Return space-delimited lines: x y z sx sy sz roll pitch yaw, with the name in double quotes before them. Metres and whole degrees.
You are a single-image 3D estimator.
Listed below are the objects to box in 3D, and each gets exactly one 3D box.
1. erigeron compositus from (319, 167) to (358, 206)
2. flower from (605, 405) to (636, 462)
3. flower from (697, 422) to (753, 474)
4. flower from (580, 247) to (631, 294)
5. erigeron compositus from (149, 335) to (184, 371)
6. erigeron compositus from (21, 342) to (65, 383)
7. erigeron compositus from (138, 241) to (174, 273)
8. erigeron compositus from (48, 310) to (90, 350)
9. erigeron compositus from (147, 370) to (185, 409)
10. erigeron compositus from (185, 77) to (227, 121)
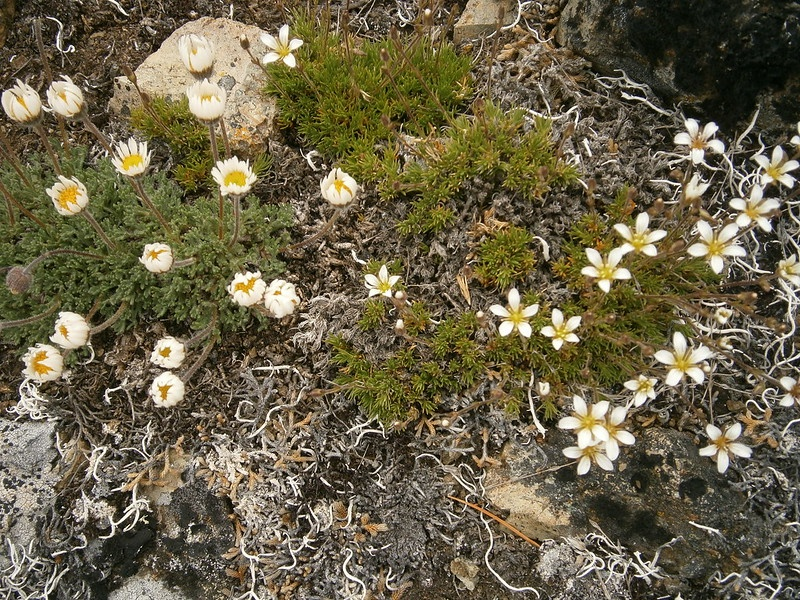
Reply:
"erigeron compositus" -0.457 -0.822 5.428 0.223 0.205 0.306 1 73 -4
"flower" 1.480 0.906 5.068 0.075 0.278 0.409 -13 97 40
"flower" 2.225 1.009 5.183 0.315 0.307 0.339 -30 83 0
"flower" 1.479 -0.179 5.385 0.398 0.696 0.319 0 83 3
"erigeron compositus" -1.733 0.387 5.646 0.229 0.260 0.222 -44 79 0
"erigeron compositus" -2.689 0.471 5.592 0.232 0.230 0.321 -2 82 -6
"erigeron compositus" -1.775 -0.314 5.482 0.194 0.230 0.206 9 84 4
"erigeron compositus" -2.491 0.244 5.745 0.308 0.525 0.263 2 83 4
"erigeron compositus" -1.749 0.677 5.550 0.219 0.123 0.260 23 86 5
"erigeron compositus" -1.346 -1.392 5.257 0.226 0.296 0.302 -10 67 5
